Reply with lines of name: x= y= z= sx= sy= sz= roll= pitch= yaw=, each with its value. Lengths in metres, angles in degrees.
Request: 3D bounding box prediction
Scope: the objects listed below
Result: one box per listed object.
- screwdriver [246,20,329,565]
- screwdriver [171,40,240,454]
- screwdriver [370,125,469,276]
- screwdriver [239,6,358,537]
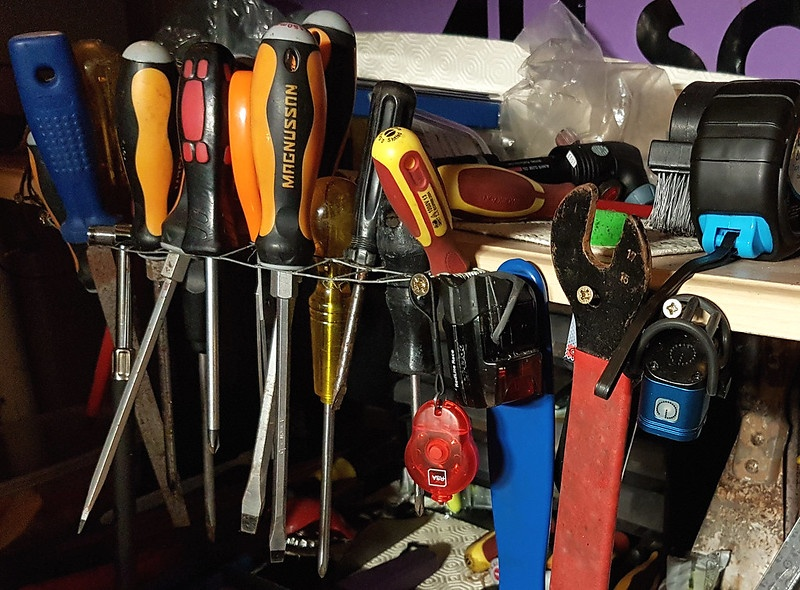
screwdriver: x=-0.126 y=0.012 z=0.838 sx=0.086 sy=0.612 sz=0.091 roll=-2 pitch=16 yaw=-16
screwdriver: x=-0.221 y=-0.048 z=0.863 sx=0.064 sy=0.477 sz=0.084 roll=6 pitch=10 yaw=29
screwdriver: x=0.032 y=-0.066 z=0.825 sx=0.056 sy=0.229 sz=0.055 roll=-11 pitch=27 yaw=17
screwdriver: x=-0.094 y=-0.022 z=0.855 sx=0.117 sy=0.668 sz=0.169 roll=0 pitch=1 yaw=-1
